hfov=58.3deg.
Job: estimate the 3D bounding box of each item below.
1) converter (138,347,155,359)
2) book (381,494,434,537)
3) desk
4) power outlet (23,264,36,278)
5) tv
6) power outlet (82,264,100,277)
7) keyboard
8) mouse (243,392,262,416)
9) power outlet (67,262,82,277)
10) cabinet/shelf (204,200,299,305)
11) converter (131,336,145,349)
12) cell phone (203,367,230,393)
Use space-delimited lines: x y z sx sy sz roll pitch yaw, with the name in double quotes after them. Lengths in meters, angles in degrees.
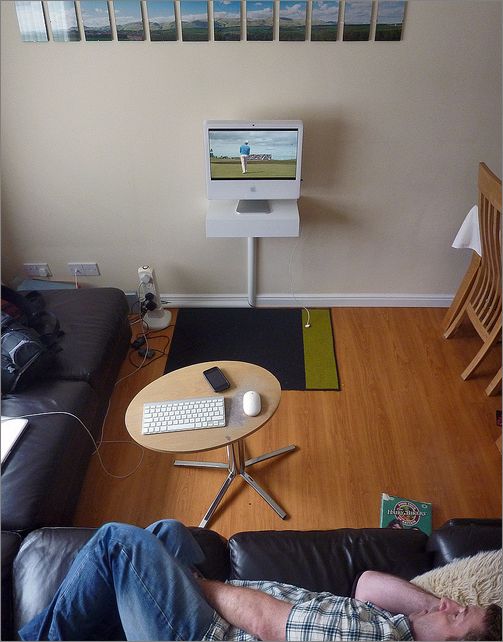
-0.615 0.190 2.629 0.075 0.026 0.058 9 46 15 "converter"
0.619 0.785 1.814 0.166 0.041 0.172 9 33 8 "book"
-0.111 0.380 2.054 0.838 0.588 0.822 -3 35 -9 "desk"
-1.402 -0.322 2.840 0.075 0.105 0.015 6 46 -2 "power outlet"
0.003 -0.801 2.254 0.470 0.377 0.045 -1 36 -2 "tv"
-1.019 -0.325 2.848 0.085 0.088 0.012 4 51 -3 "power outlet"
-0.247 0.343 1.628 0.296 0.032 0.137 -3 38 -4 "keyboard"
-0.001 0.303 1.626 0.058 0.020 0.082 -2 62 1 "mouse"
-1.119 -0.331 2.845 0.075 0.080 0.026 2 34 1 "power outlet"
0.000 -0.341 2.658 0.495 0.748 0.292 1 36 0 "cabinet/shelf"
-0.680 0.129 2.691 0.048 0.027 0.093 7 42 14 "converter"
-0.140 0.236 1.762 0.080 0.016 0.150 -12 35 -18 "cell phone"
